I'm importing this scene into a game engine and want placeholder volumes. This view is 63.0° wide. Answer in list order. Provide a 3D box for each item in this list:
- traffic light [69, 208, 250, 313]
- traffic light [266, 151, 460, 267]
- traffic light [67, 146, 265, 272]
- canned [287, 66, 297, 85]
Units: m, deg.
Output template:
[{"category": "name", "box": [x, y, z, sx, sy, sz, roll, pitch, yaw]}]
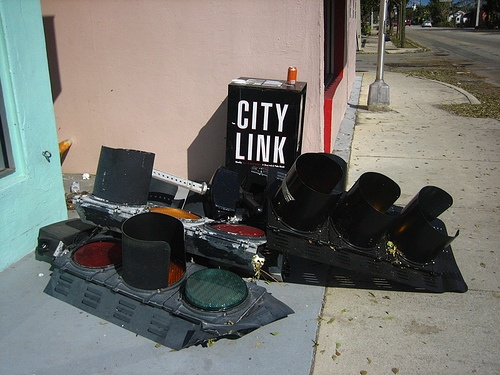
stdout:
[{"category": "traffic light", "box": [-0.750, 0.751, 3.932, 1.419, 0.599, 0.668, 19, 42, 19]}, {"category": "traffic light", "box": [1.208, 0.194, 4.512, 1.927, 0.989, 0.628, 5, 22, 4]}, {"category": "traffic light", "box": [-0.902, 0.188, 4.553, 2.140, 0.936, 1.137, 20, 25, 1]}, {"category": "canned", "box": [0.560, -1.501, 5.484, 0.122, 0.203, 0.279, 4, 23, 2]}]
